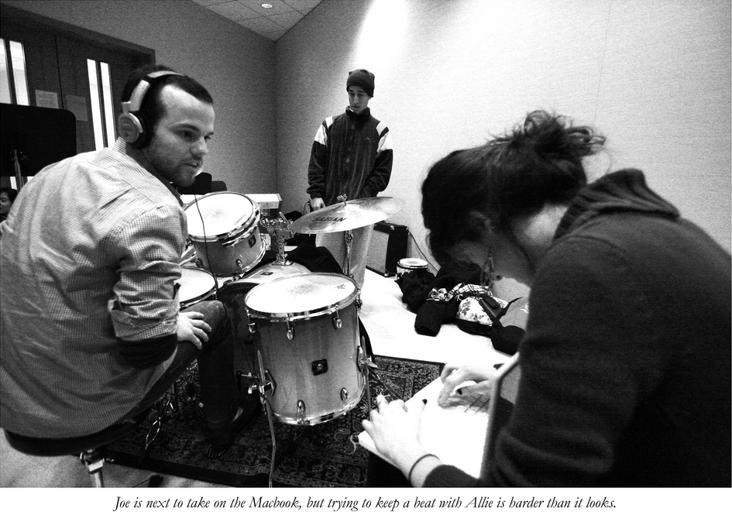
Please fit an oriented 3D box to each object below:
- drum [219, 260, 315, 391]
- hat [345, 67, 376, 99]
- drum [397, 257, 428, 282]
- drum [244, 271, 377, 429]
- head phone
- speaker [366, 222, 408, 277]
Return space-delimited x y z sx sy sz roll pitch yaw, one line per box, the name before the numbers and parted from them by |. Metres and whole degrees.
drum | -0.406 0.268 2.547 0.553 0.468 0.535 -9 15 -20
hat | -0.031 -1.000 3.074 0.168 0.144 0.348 1 16 0
drum | 0.330 0.090 3.727 0.180 0.123 0.192 -2 7 0
drum | -0.158 0.335 2.165 0.608 0.498 0.559 0 23 14
head phone | -0.722 -0.475 1.768 0.097 0.214 0.243 16 8 4
speaker | 0.163 -0.048 3.997 0.172 0.359 0.429 6 5 -15
